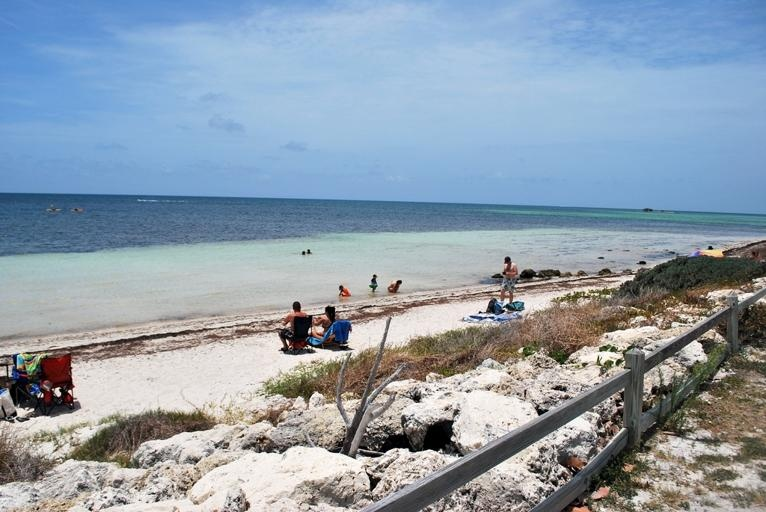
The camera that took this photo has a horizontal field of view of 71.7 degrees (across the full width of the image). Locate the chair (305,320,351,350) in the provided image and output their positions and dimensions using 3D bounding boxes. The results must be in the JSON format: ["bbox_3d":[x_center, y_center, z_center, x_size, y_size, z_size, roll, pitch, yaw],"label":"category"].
[{"bbox_3d":[-1.640,2.538,16.892,0.850,0.776,1.210,1,-2,-24],"label":"chair"}]

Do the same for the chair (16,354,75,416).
[{"bbox_3d":[-8.396,3.120,12.973,1.083,1.340,1.046,-1,0,13],"label":"chair"}]

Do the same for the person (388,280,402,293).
[{"bbox_3d":[0.540,1.617,26.935,0.688,0.600,0.953,-5,3,0],"label":"person"}]

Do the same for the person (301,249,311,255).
[{"bbox_3d":[-5.920,-0.229,40.421,0.585,0.259,0.718,1,0,-5],"label":"person"}]

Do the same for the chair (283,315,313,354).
[{"bbox_3d":[-2.559,2.511,16.504,0.890,1.061,1.007,-2,-21,25],"label":"chair"}]
